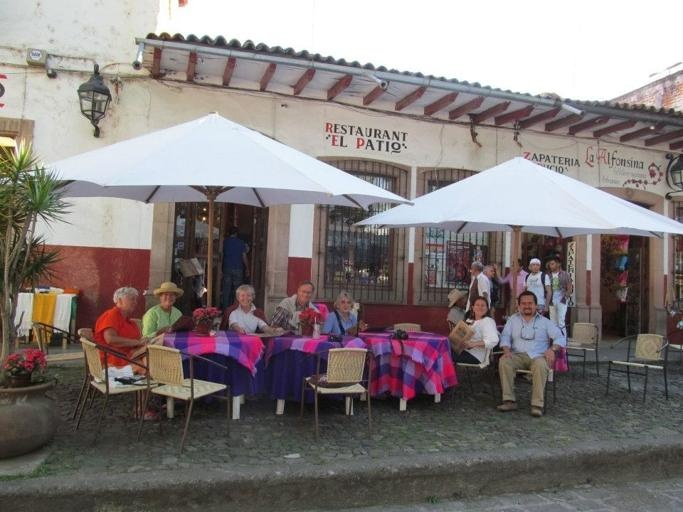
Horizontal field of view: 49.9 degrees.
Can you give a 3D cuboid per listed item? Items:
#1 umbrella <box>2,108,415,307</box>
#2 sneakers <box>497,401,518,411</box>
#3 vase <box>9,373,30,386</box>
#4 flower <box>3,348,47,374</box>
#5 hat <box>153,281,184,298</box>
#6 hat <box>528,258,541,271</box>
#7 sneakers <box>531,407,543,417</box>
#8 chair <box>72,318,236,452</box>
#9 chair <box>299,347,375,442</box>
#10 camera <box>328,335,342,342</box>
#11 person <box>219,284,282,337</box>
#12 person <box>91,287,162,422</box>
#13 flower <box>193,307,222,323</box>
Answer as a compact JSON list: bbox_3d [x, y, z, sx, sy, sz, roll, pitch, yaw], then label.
[{"bbox_3d":[-1.643,-0.497,9.574,2.972,2.272,3.190,2,5,10],"label":"umbrella"},{"bbox_3d":[2.123,1.927,9.457,0.275,0.123,0.102,6,-7,-21],"label":"sneakers"},{"bbox_3d":[-3.427,1.316,7.801,0.154,0.117,0.161,-1,-11,3],"label":"vase"},{"bbox_3d":[-3.388,1.125,7.872,0.296,0.199,0.295,-2,4,-8],"label":"flower"},{"bbox_3d":[-2.239,0.428,9.582,0.320,0.139,0.353,-1,-15,-6],"label":"hat"},{"bbox_3d":[3.501,0.161,13.306,0.182,0.267,0.206,-7,-22,36],"label":"hat"},{"bbox_3d":[2.457,1.956,9.239,0.071,0.092,0.218,-1,-20,5],"label":"sneakers"},{"bbox_3d":[-2.098,0.953,8.440,1.920,1.333,1.210,5,6,38],"label":"chair"},{"bbox_3d":[-0.058,1.555,8.766,0.823,0.993,1.051,-1,-1,2],"label":"chair"},{"bbox_3d":[-0.071,1.010,8.996,0.172,0.078,0.185,-1,-1,0],"label":"camera"},{"bbox_3d":[-1.173,0.763,9.579,0.721,0.789,0.566,-4,-7,18],"label":"person"},{"bbox_3d":[-2.581,1.103,8.967,0.749,1.431,0.637,-5,-2,-10],"label":"person"},{"bbox_3d":[-1.658,0.707,8.937,0.205,0.136,0.215,-3,-5,26],"label":"flower"}]
